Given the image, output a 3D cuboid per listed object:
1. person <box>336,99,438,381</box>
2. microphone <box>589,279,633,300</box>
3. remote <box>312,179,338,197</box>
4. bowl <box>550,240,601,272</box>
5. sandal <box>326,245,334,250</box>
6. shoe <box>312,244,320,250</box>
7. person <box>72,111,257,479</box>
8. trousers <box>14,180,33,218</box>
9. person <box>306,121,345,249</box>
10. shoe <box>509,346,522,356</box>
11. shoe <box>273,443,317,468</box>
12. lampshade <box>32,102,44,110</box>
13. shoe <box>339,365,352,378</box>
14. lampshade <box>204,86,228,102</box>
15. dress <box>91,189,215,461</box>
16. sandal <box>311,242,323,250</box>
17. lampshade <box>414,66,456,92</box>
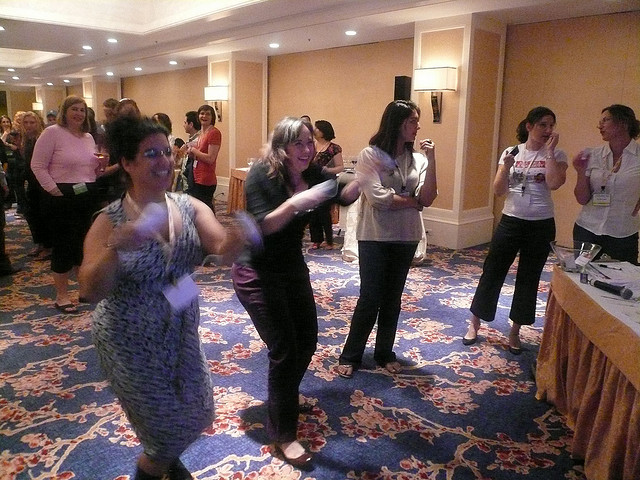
[{"bbox_3d":[0.454,0.016,3.191,0.689,1.852,0.402,-11,19,-37],"label":"person"},{"bbox_3d":[1.591,0.265,2.555,0.048,0.044,0.161,17,6,-29],"label":"microphone"},{"bbox_3d":[0.029,-0.259,2.338,0.097,0.078,0.076,-6,-24,16],"label":"remote"},{"bbox_3d":[1.589,0.077,2.897,0.210,0.105,0.210,0,8,0],"label":"bowl"},{"bbox_3d":[0.145,0.093,6.526,0.048,0.056,0.144,12,19,35],"label":"sandal"},{"bbox_3d":[-0.056,0.095,6.556,0.115,0.112,0.074,1,-1,-6],"label":"shoe"},{"bbox_3d":[-0.661,0.372,2.043,0.631,1.794,0.539,3,15,9],"label":"person"},{"bbox_3d":[-4.687,-0.637,7.333,0.217,0.734,0.190,-21,-26,0],"label":"trousers"},{"bbox_3d":[0.042,-0.711,6.132,0.561,1.650,0.512,-2,9,-5],"label":"person"},{"bbox_3d":[1.521,0.857,3.633,0.093,0.037,0.093,7,16,21],"label":"shoe"},{"bbox_3d":[-0.145,1.145,2.513,0.254,0.065,0.129,4,16,13],"label":"shoe"},{"bbox_3d":[-10.706,-5.071,17.770,0.205,0.234,0.786,-11,19,-37],"label":"lampshade"},{"bbox_3d":[0.179,0.913,3.245,0.065,0.069,0.180,0,-5,5],"label":"shoe"},{"bbox_3d":[-2.066,-3.040,9.324,0.545,0.358,0.290,1,5,14],"label":"lampshade"},{"bbox_3d":[-0.714,0.462,2.064,0.420,1.458,0.516,-1,4,36],"label":"dress"},{"bbox_3d":[-0.041,0.079,6.560,0.106,0.080,0.287,-3,-1,18],"label":"sandal"},{"bbox_3d":[1.506,-2.130,6.205,0.614,0.306,0.311,2,3,29],"label":"lampshade"}]
